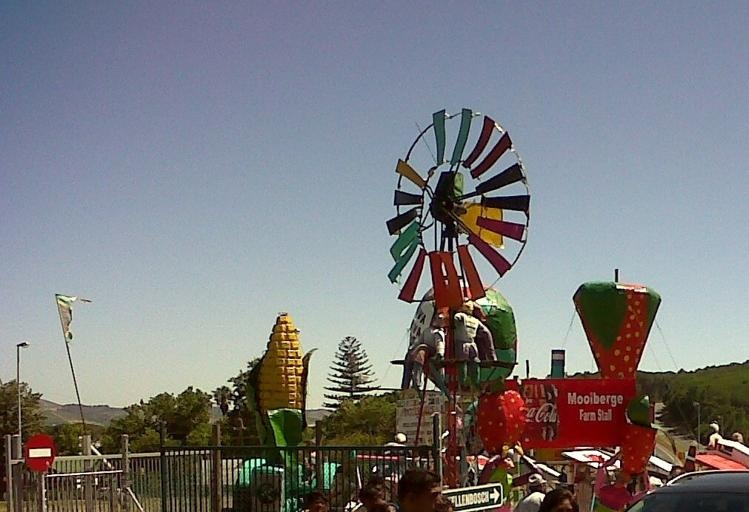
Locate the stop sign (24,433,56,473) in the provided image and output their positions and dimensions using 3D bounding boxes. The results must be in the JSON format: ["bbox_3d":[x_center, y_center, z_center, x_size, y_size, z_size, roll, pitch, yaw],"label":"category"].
[{"bbox_3d":[-8.450,4.970,15.909,0.356,0.901,0.836,-6,-12,25],"label":"stop sign"}]
